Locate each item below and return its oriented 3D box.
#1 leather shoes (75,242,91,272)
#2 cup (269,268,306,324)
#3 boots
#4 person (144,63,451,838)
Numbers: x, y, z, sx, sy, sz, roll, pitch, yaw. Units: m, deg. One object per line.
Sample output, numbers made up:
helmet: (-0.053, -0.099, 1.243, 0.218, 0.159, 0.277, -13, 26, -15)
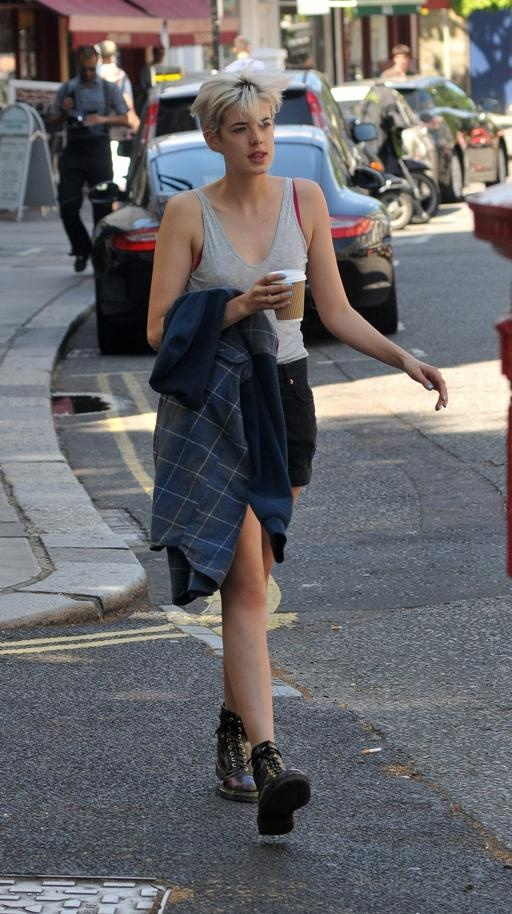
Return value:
leather shoes: (-2.463, -2.844, 13.304, 0.179, 0.487, 0.211, 5, -6, 12)
cup: (0.080, -0.354, 2.034, 0.101, 0.097, 0.102, -1, 3, 0)
boots: (0.001, 0.730, 2.143, 0.129, 0.144, 0.320, -6, -4, -11)
person: (0.060, -0.017, 2.237, 0.541, 1.700, 0.690, 3, 7, 40)
